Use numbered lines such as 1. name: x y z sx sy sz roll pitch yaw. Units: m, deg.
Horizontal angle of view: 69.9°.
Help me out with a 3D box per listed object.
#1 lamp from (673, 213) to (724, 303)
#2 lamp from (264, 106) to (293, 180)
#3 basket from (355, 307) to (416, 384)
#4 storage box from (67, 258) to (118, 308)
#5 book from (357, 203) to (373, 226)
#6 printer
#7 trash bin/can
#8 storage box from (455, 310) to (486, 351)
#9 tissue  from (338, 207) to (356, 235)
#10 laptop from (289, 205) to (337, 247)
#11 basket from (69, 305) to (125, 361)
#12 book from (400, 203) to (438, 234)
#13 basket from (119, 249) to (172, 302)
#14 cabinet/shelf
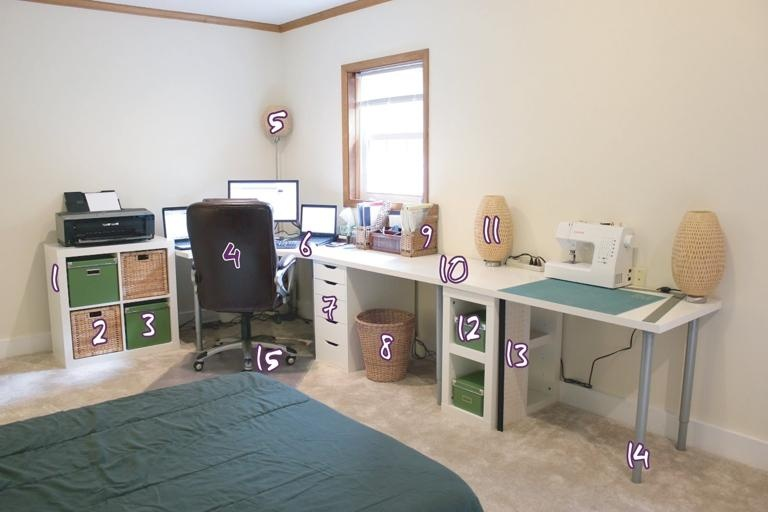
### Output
1. lamp: 1.899 0.003 3.309 0.254 0.527 0.142 0 10 -4
2. lamp: -1.116 -1.189 5.804 0.276 0.750 0.152 -3 11 -24
3. basket: 0.002 0.734 4.567 0.514 0.477 0.545 0 8 -3
4. storage box: -2.431 0.215 4.636 0.381 0.358 0.379 -4 5 -40
5. book: -0.159 -0.351 4.762 0.157 0.282 0.207 1 5 0
6. printer: -2.417 -0.311 4.742 0.743 0.438 0.619 -7 14 -39
7. trash bin/can: 0.001 0.722 4.569 0.514 0.469 0.543 1 8 -2
8. storage box: 0.613 0.531 3.866 0.232 0.163 0.231 3 6 32
9. tissue : -0.348 -0.326 5.188 0.162 0.255 0.380 0 10 -5
10. laptop: -0.657 -0.314 5.191 0.462 0.346 0.366 2 7 13
11. basket: -2.424 0.634 4.670 0.412 0.393 0.411 -3 4 -34
12. book: 0.305 -0.303 4.517 0.320 0.230 0.121 -5 12 -31
13. basket: -2.043 0.171 4.959 0.484 0.459 0.375 -5 0 13
14. cabinet/shelf: -2.233 0.403 4.849 1.034 1.011 0.399 -8 -7 2
